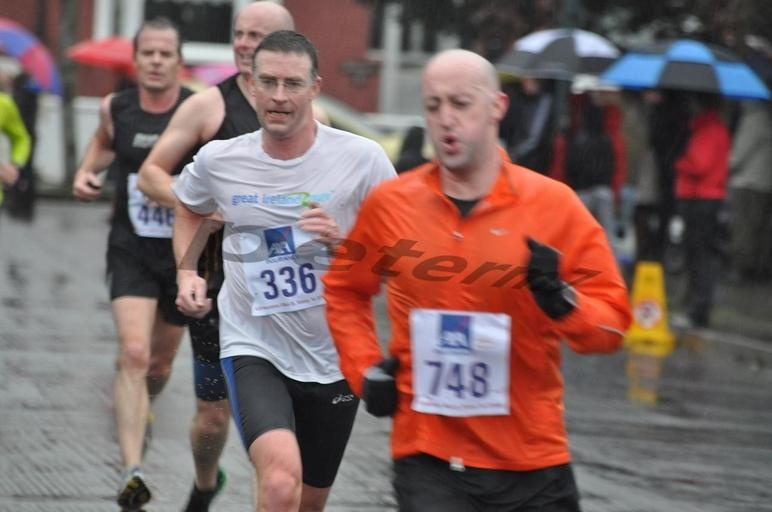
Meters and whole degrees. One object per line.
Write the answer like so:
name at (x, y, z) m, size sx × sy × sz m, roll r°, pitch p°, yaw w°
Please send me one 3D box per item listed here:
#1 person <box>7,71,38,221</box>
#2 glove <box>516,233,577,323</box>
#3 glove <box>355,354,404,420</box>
person at (-2.368, -0.720, 7.239) m, size 0.202 × 0.967 × 0.838 m, roll -2°, pitch 9°, yaw -17°
glove at (0.734, 0.106, 4.991) m, size 0.226 × 0.368 × 0.144 m, roll -35°, pitch 6°, yaw -21°
glove at (-0.019, 0.633, 5.205) m, size 0.181 × 0.286 × 0.148 m, roll 0°, pitch 9°, yaw -8°
